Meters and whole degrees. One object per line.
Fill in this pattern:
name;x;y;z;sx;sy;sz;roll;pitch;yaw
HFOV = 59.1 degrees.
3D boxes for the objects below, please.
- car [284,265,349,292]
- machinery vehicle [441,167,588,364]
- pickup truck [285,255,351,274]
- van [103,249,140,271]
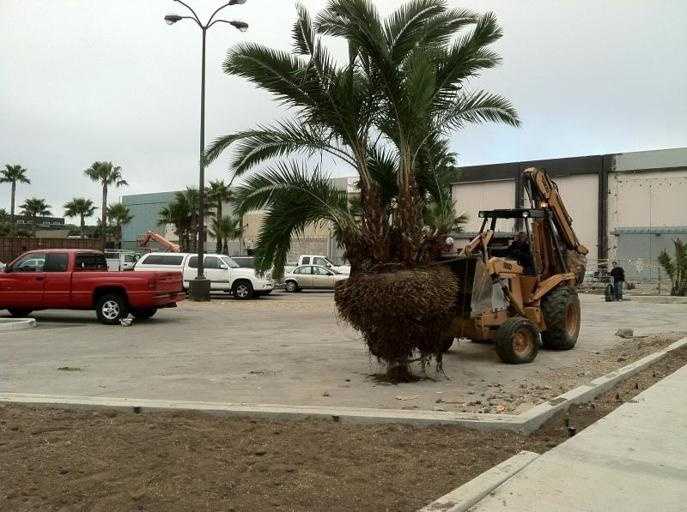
car;-1.628;1.371;33.940;3.272;1.249;1.571;-3;0;5
machinery vehicle;3.850;0.111;13.004;4.826;3.891;2.046;-2;2;-35
pickup truck;-1.178;0.463;36.394;2.777;1.434;1.755;-2;0;7
van;-12.145;0.285;33.136;2.342;1.507;1.764;0;1;3
